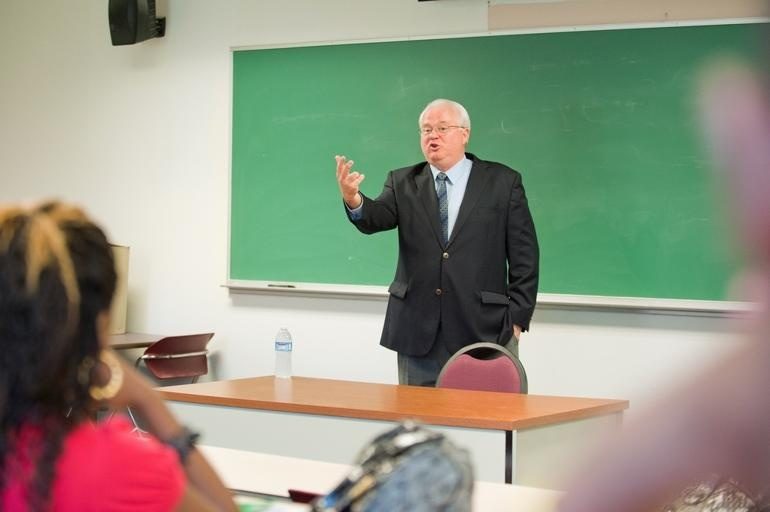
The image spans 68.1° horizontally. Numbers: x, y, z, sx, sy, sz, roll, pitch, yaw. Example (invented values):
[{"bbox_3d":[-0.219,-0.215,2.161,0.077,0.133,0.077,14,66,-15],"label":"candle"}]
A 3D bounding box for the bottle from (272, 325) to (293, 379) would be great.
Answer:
[{"bbox_3d":[-0.416,0.411,2.343,0.061,0.193,0.343,-2,5,-8],"label":"bottle"}]

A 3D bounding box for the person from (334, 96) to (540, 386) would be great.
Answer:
[{"bbox_3d":[0.243,-0.072,2.559,0.849,1.253,0.414,-2,4,-5],"label":"person"}]

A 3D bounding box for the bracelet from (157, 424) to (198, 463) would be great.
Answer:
[{"bbox_3d":[-0.213,0.199,0.612,0.023,0.035,0.010,4,3,15],"label":"bracelet"}]
